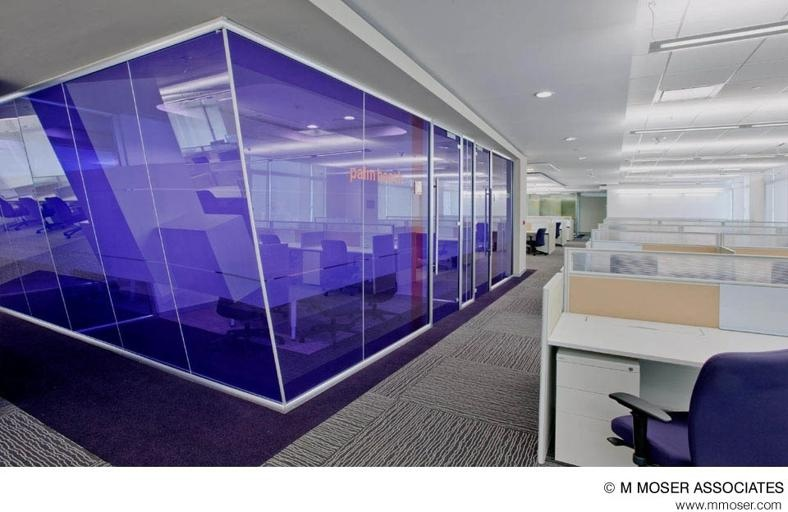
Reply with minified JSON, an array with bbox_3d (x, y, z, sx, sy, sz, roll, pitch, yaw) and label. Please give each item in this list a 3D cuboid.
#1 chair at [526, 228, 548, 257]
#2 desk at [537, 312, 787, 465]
[{"bbox_3d":[4.561,-0.459,14.570,0.908,0.832,0.950,5,7,36],"label":"chair"},{"bbox_3d":[2.052,1.027,3.514,1.550,0.811,0.796,2,1,36],"label":"desk"}]
